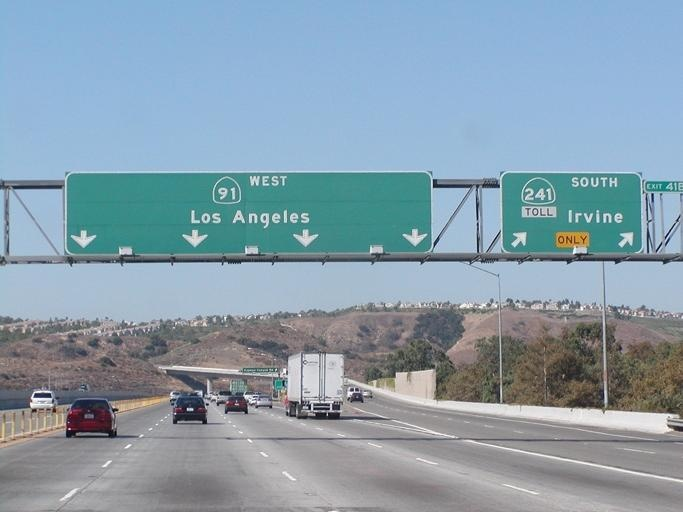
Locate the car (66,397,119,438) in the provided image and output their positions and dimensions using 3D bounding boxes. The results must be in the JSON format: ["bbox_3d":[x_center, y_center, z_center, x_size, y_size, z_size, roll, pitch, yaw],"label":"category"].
[{"bbox_3d":[-12.972,8.354,73.534,2.357,2.019,1.158,-1,-6,10],"label":"car"}]

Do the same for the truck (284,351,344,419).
[{"bbox_3d":[-1.735,8.303,92.570,2.581,3.819,7.591,0,-5,-7],"label":"truck"}]
